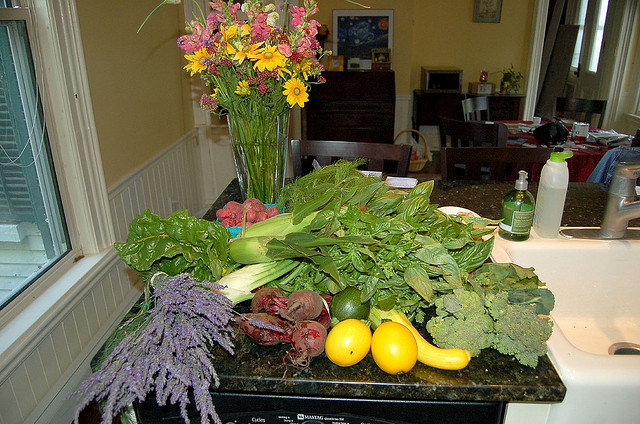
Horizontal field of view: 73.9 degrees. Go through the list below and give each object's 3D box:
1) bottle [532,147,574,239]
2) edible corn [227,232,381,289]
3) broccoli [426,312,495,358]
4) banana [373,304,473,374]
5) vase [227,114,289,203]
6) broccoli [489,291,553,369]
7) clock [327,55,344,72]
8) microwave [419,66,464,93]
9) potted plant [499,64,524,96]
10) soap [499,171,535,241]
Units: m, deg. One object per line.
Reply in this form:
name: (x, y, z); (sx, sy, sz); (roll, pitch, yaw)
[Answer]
bottle: (0.885, -0.078, 1.622); (0.100, 0.336, 0.144); (11, 23, 27)
edible corn: (-0.077, 0.128, 1.295); (0.397, 0.157, 0.181); (-2, 7, 12)
broccoli: (0.402, 0.351, 1.215); (0.193, 0.137, 0.059); (2, 20, 4)
banana: (0.298, 0.347, 1.243); (0.280, 0.155, 0.121); (13, 24, 30)
vase: (-0.267, -0.247, 1.910); (0.265, 0.428, 0.272); (12, 25, 25)
broccoli: (0.569, 0.332, 1.215); (0.174, 0.193, 0.091); (6, 21, 16)
clock: (0.211, -2.016, 5.750); (0.262, 0.247, 0.070); (5, 2, 11)
microwave: (1.680, -1.852, 5.971); (0.563, 0.374, 0.397); (1, 17, 3)
potted plant: (2.578, -1.839, 5.817); (0.223, 0.246, 0.253); (-9, 33, -40)
soap: (0.745, -0.033, 1.603); (0.113, 0.273, 0.114); (21, 34, 40)
